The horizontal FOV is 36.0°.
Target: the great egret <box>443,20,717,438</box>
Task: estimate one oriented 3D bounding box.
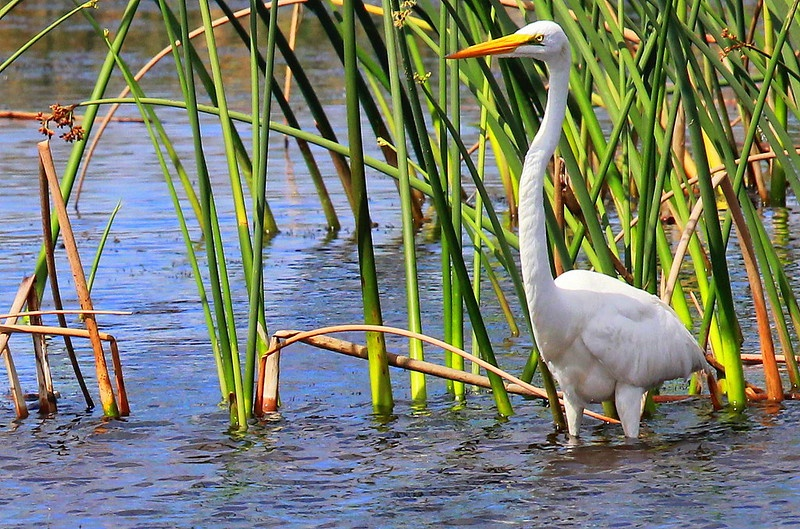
[{"bbox_3d":[1.007,-0.167,6.921,1.197,2.369,0.300,-8,9,-18],"label":"great egret"}]
